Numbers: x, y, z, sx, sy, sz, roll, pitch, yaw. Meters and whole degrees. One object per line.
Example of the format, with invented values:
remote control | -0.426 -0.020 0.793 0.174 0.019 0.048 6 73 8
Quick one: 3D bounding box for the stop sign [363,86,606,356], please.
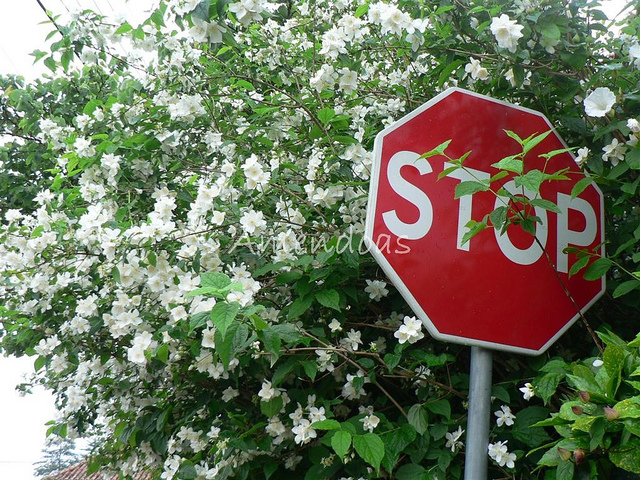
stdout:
stop sign | 0.643 -0.083 1.917 1.071 1.013 0.093 8 -13 -10
